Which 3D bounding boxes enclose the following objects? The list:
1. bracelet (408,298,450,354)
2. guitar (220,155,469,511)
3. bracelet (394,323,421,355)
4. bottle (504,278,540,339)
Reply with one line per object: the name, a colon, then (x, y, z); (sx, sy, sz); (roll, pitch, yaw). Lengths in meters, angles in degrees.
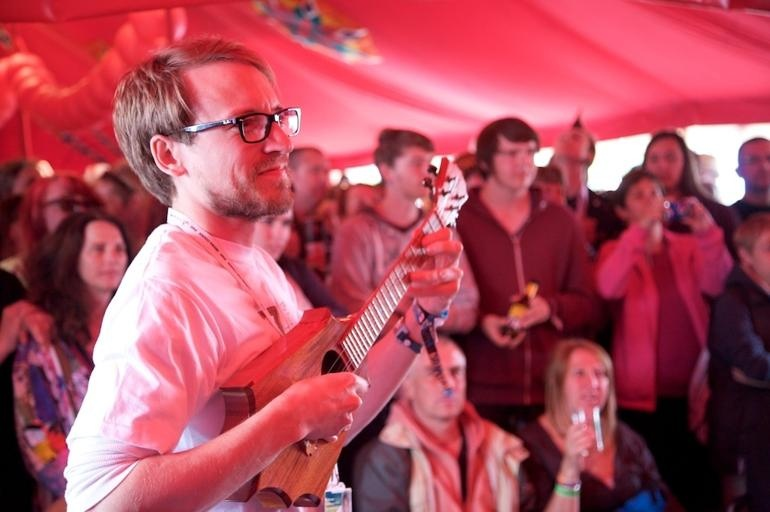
bracelet: (0.142, 0.240, 2.171); (0.099, 0.181, 0.042); (5, 0, -10)
guitar: (-0.107, 0.307, 2.278); (0.165, 0.636, 1.611); (-2, 44, 43)
bracelet: (0.076, 0.286, 2.159); (0.107, 0.032, 0.079); (43, -18, -15)
bottle: (0.616, 0.241, 2.856); (0.179, 0.235, 0.058); (-6, 8, -28)
